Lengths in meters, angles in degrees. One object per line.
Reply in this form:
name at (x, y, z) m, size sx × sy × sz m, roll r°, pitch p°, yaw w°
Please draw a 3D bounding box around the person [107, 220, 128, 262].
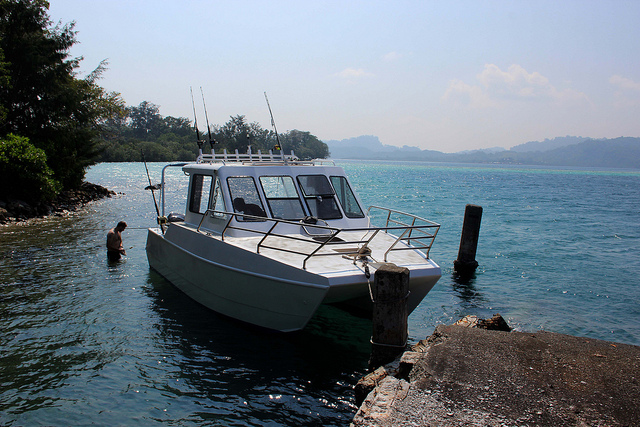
person at (-8.005, 1.135, 15.917) m, size 0.707 × 1.638 × 0.575 m, roll 12°, pitch 49°, yaw -23°
